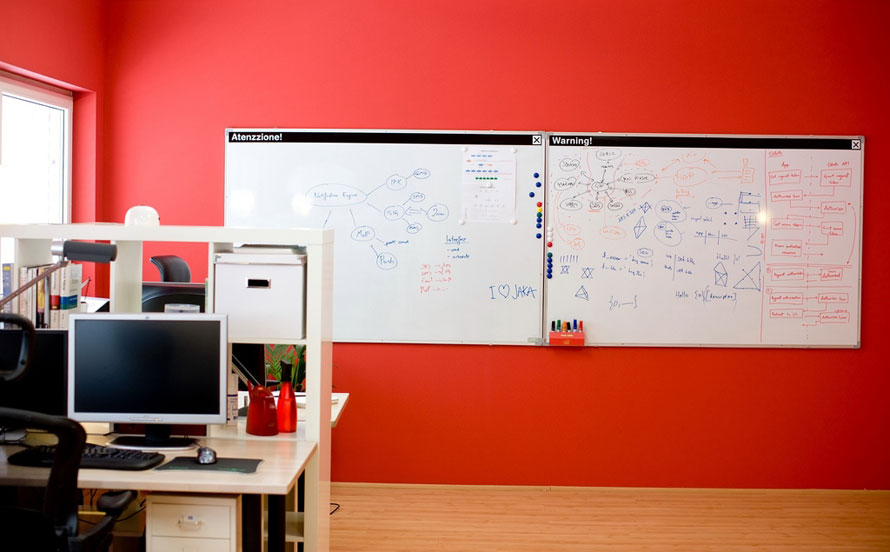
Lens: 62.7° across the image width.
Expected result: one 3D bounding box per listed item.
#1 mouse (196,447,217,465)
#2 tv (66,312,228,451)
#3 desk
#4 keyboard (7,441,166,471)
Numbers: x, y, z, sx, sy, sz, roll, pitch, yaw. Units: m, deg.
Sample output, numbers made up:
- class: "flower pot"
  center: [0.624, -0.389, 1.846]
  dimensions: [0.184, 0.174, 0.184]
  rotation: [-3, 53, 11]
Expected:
- class: "mouse"
  center: [-1.370, 1.024, 4.164]
  dimensions: [0.096, 0.072, 0.092]
  rotation: [1, -8, -6]
- class: "tv"
  center: [-1.766, 0.615, 4.382]
  dimensions: [0.974, 0.784, 0.316]
  rotation: [0, 0, 2]
- class: "desk"
  center: [-1.647, 0.682, 4.335]
  dimensions: [2.367, 2.053, 0.750]
  rotation: [2, 3, 0]
- class: "keyboard"
  center: [-2.058, 1.035, 4.188]
  dimensions: [0.869, 0.140, 0.200]
  rotation: [1, 0, 4]
